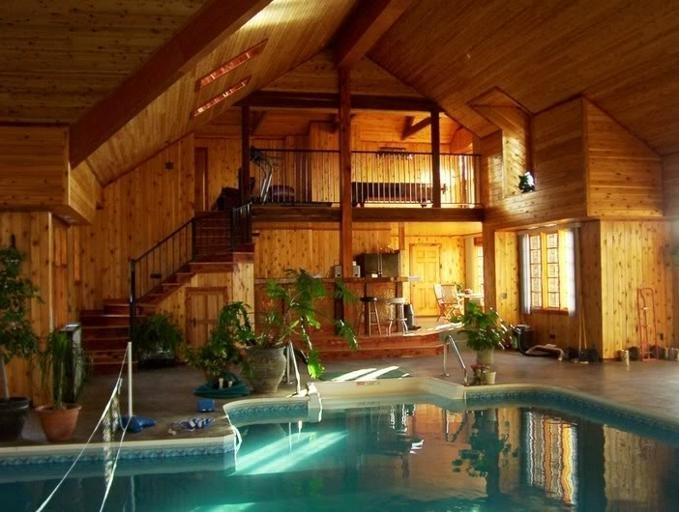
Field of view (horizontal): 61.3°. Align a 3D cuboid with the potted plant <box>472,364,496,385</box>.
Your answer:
[{"bbox_3d":[2.384,1.969,9.471,0.358,0.264,0.256,-3,-5,33],"label":"potted plant"}]

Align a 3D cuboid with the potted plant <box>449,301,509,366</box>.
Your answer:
[{"bbox_3d":[2.490,1.377,9.945,0.926,0.982,0.859,1,-9,8],"label":"potted plant"}]

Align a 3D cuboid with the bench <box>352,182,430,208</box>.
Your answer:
[{"bbox_3d":[1.232,-1.543,14.090,1.963,0.578,0.617,-1,3,-14],"label":"bench"}]
